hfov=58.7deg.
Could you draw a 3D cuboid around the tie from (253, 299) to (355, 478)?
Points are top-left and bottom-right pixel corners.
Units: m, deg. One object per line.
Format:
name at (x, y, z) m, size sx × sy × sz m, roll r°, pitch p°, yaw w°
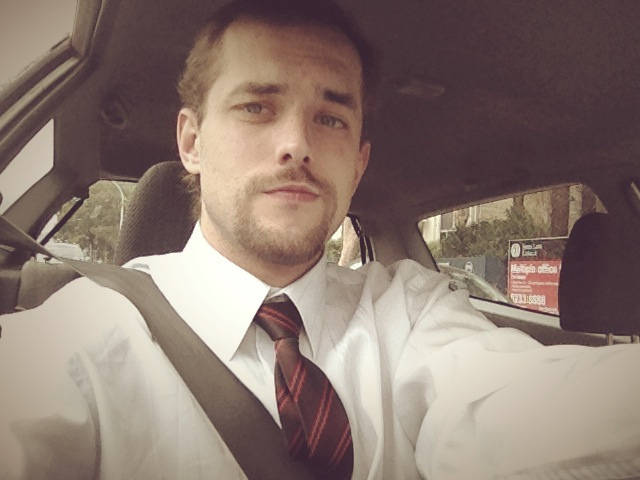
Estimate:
tie at (-0.068, 0.402, 1.646) m, size 0.158 × 0.615 × 0.087 m, roll -6°, pitch -41°, yaw -24°
